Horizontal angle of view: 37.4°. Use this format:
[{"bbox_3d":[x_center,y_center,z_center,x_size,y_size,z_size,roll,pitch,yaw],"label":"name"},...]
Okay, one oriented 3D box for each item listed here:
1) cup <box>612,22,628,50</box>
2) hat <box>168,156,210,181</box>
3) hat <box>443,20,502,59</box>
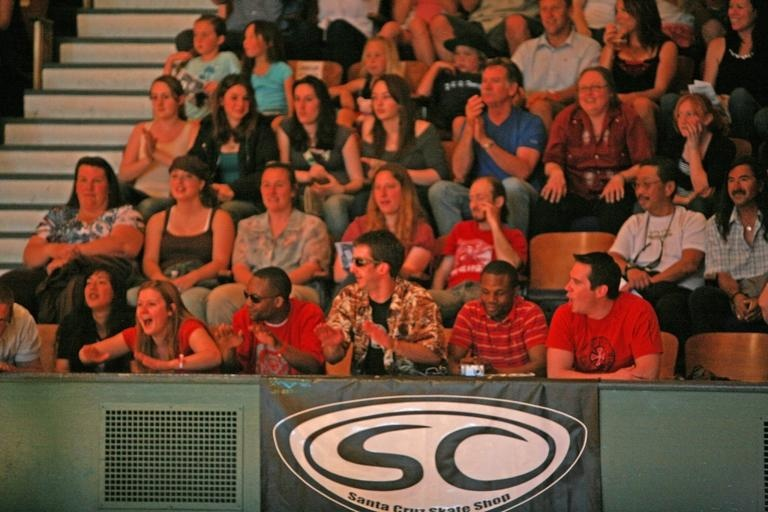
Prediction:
[{"bbox_3d":[2.059,-1.934,9.969,0.199,0.238,0.087,-1,2,3],"label":"cup"},{"bbox_3d":[-1.595,-0.692,9.242,0.224,0.131,0.256,10,4,26],"label":"hat"},{"bbox_3d":[0.822,-1.957,10.240,0.553,0.354,0.347,-2,2,-4],"label":"hat"}]
